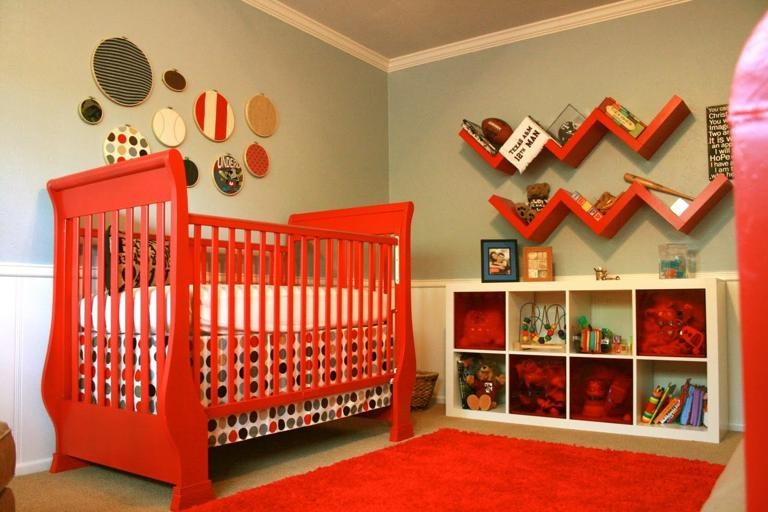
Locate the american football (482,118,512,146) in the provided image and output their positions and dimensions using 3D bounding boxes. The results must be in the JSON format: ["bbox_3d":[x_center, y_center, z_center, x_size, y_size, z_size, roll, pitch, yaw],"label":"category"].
[{"bbox_3d":[0.863,-0.953,4.583,0.173,0.235,0.145,-38,-27,-13],"label":"american football"}]

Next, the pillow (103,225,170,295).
[{"bbox_3d":[-1.370,0.012,3.219,0.132,0.378,0.504,-10,-9,31],"label":"pillow"}]

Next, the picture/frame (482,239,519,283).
[{"bbox_3d":[0.843,0.033,4.289,0.253,0.325,0.024,0,22,15],"label":"picture/frame"}]

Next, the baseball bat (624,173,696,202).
[{"bbox_3d":[1.892,-0.454,3.977,0.442,0.070,0.068,18,29,14],"label":"baseball bat"}]

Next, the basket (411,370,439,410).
[{"bbox_3d":[0.279,0.995,4.518,0.285,0.230,0.282,3,-8,-35],"label":"basket"}]

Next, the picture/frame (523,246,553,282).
[{"bbox_3d":[1.102,0.060,4.190,0.222,0.315,0.039,-2,-6,17],"label":"picture/frame"}]

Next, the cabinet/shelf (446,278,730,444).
[{"bbox_3d":[1.343,0.595,4.014,1.742,1.016,0.499,-4,6,44],"label":"cabinet/shelf"}]

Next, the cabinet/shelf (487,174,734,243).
[{"bbox_3d":[1.541,-0.304,4.142,1.585,0.381,0.273,-3,-6,39],"label":"cabinet/shelf"}]
